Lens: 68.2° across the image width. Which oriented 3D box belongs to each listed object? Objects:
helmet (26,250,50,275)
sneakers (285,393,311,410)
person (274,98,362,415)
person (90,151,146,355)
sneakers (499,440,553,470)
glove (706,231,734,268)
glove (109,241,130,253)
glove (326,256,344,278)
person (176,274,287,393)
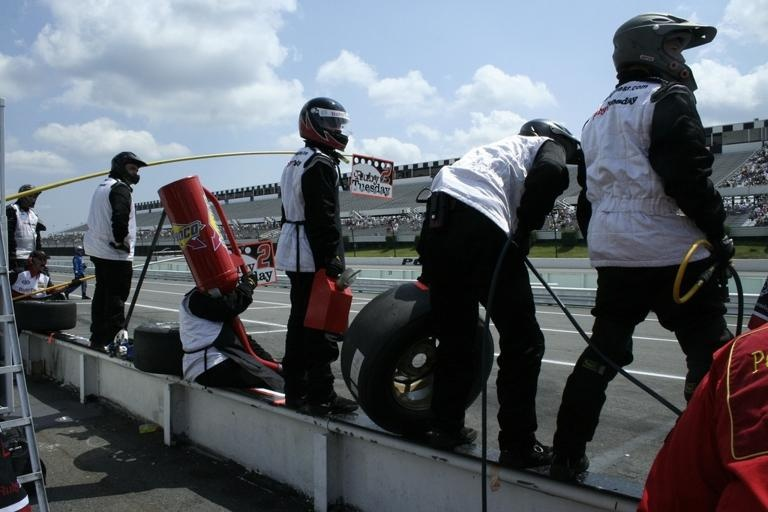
[{"bbox_3d":[-5.203,0.072,8.529,0.370,0.373,0.290,1,6,-4],"label":"helmet"},{"bbox_3d":[-0.636,1.047,4.113,0.146,0.052,0.102,5,2,-6],"label":"sneakers"},{"bbox_3d":[-0.526,-0.055,4.276,0.601,2.353,0.789,-2,4,-4],"label":"person"},{"bbox_3d":[-2.907,-0.087,6.152,0.622,2.084,0.605,-4,5,-27],"label":"person"},{"bbox_3d":[0.861,1.153,3.374,0.391,0.171,0.138,-1,0,-24],"label":"sneakers"},{"bbox_3d":[1.916,-0.027,3.213,0.147,0.197,0.180,6,15,21],"label":"glove"},{"bbox_3d":[-2.828,-0.096,6.096,0.143,0.050,0.102,7,-17,16],"label":"glove"},{"bbox_3d":[-0.355,0.077,4.209,0.163,0.152,0.120,-2,9,-29],"label":"glove"},{"bbox_3d":[-1.312,0.548,4.962,0.852,1.023,0.981,1,-2,-34],"label":"person"}]
